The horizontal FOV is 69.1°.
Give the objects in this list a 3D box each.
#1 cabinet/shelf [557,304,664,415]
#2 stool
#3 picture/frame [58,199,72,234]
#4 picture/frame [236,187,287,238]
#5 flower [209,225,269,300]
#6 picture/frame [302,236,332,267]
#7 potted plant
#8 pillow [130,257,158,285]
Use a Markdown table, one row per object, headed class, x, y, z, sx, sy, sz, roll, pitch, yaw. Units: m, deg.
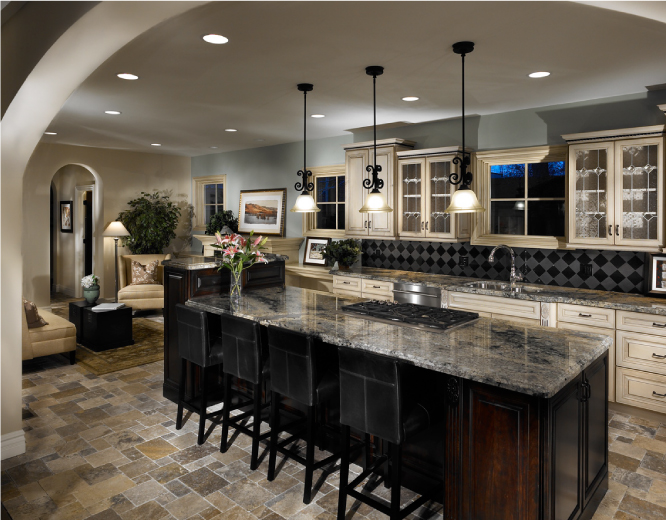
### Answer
| class | x | y | z | sx | sy | sz | roll | pitch | yaw |
| --- | --- | --- | --- | --- | --- | --- | --- | --- | --- |
| cabinet/shelf | 2.229 | 0.781 | 3.749 | 0.954 | 0.928 | 0.381 | -2 | -5 | 41 |
| stool | -3.008 | 0.601 | 6.250 | 0.522 | 0.615 | 0.959 | -3 | 5 | -40 |
| picture/frame | -5.158 | -0.827 | 9.188 | 0.046 | 0.690 | 0.659 | 0 | 1 | -44 |
| picture/frame | -1.169 | -0.781 | 7.973 | 1.044 | 0.775 | 0.082 | 6 | 6 | 44 |
| flower | -0.892 | 0.023 | 4.559 | 0.450 | 0.601 | 0.547 | -3 | 11 | -15 |
| picture/frame | -0.232 | -0.125 | 7.121 | 0.032 | 0.449 | 0.438 | 11 | -11 | -42 |
| potted plant | -3.203 | -0.532 | 8.972 | 1.345 | 1.849 | 1.432 | -6 | 11 | -43 |
| pillow | -3.125 | 0.194 | 7.857 | 0.386 | 0.461 | 0.173 | 2 | -23 | -21 |
